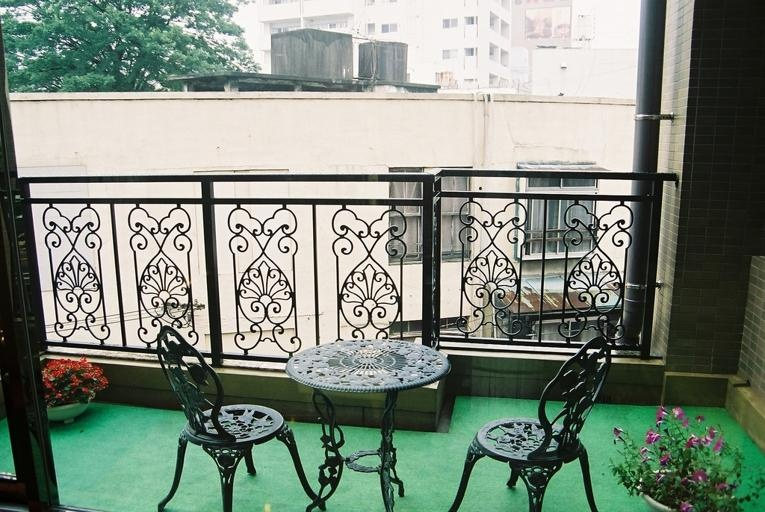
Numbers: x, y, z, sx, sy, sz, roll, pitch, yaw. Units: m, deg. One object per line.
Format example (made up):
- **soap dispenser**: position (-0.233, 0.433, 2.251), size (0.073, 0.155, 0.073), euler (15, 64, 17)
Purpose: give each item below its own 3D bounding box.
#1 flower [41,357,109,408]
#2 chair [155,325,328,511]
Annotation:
- **flower**: position (-2.152, 0.891, 5.410), size (0.396, 0.315, 0.404), euler (-8, 4, 36)
- **chair**: position (-0.829, 0.899, 4.499), size (0.866, 1.162, 0.588), euler (4, 18, 21)
